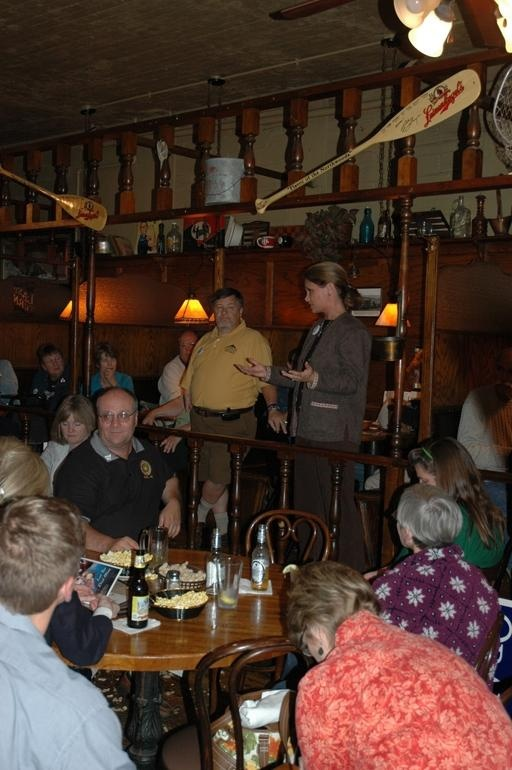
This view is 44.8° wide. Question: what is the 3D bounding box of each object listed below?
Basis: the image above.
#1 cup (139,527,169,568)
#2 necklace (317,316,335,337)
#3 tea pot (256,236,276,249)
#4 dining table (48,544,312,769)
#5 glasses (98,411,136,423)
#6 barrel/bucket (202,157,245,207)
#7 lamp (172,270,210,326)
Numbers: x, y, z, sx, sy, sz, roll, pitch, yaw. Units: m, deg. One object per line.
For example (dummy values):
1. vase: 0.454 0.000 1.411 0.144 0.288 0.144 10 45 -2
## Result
1. cup: -0.333 0.541 2.085 0.133 0.135 0.077 -1 2 0
2. necklace: 0.372 -0.316 3.354 0.036 0.096 0.070 29 4 -1
3. tea pot: 0.108 -1.530 6.677 0.169 0.123 0.131 -1 7 -12
4. dining table: -0.228 0.875 1.851 0.648 0.452 0.641 -1 4 -13
5. glasses: -0.602 0.134 2.732 0.163 0.047 0.103 -1 3 -21
6. barrel/bucket: -0.193 -1.241 3.890 0.298 0.323 0.292 -1 9 0
7. lamp: -0.713 -0.915 7.044 0.398 0.436 0.405 0 3 24
